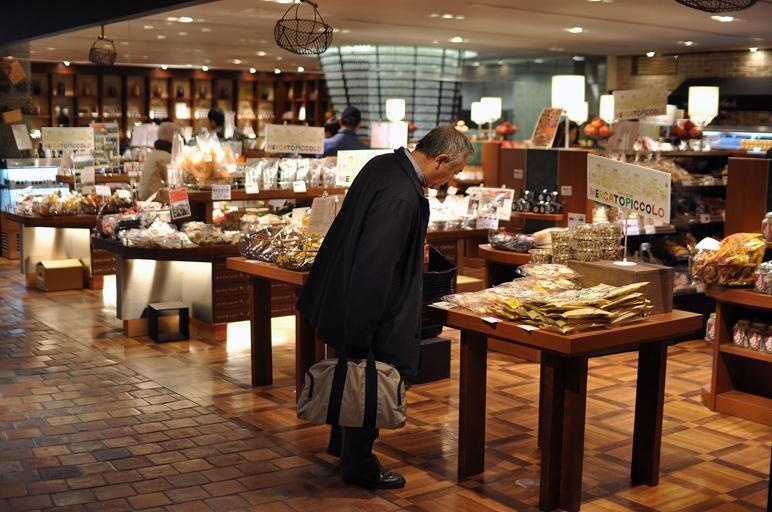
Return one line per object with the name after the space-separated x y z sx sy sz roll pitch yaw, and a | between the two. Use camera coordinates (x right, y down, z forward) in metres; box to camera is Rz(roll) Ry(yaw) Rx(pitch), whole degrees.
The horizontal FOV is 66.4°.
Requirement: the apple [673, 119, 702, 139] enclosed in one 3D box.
3.708 -1.558 7.287 0.255 0.140 0.321 -1 6 5 | apple

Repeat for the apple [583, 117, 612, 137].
2.526 -1.533 7.155 0.338 0.129 0.322 3 28 6 | apple

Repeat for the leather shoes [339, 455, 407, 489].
-0.086 1.277 3.531 0.474 0.203 0.154 1 2 -1 | leather shoes
